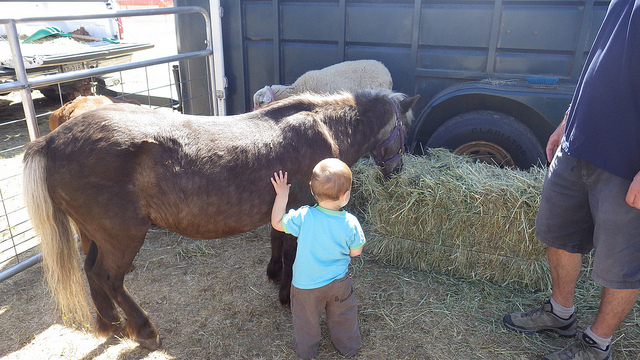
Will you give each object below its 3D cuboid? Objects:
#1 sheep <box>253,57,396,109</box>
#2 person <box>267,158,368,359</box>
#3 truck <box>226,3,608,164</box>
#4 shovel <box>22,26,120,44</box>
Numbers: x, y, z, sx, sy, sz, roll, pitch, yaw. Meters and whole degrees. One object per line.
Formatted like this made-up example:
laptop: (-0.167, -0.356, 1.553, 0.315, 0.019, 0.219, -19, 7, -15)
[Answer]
sheep: (0.125, -1.200, 5.404, 1.694, 0.823, 0.437, -7, 38, 10)
person: (-0.031, 0.770, 4.248, 0.847, 1.861, 1.034, -4, 31, -13)
truck: (1.100, -1.487, 6.340, 3.942, 2.292, 2.353, 0, 18, 6)
shovel: (-4.659, -2.631, 7.962, 0.518, 0.320, 1.514, 27, 36, 36)
